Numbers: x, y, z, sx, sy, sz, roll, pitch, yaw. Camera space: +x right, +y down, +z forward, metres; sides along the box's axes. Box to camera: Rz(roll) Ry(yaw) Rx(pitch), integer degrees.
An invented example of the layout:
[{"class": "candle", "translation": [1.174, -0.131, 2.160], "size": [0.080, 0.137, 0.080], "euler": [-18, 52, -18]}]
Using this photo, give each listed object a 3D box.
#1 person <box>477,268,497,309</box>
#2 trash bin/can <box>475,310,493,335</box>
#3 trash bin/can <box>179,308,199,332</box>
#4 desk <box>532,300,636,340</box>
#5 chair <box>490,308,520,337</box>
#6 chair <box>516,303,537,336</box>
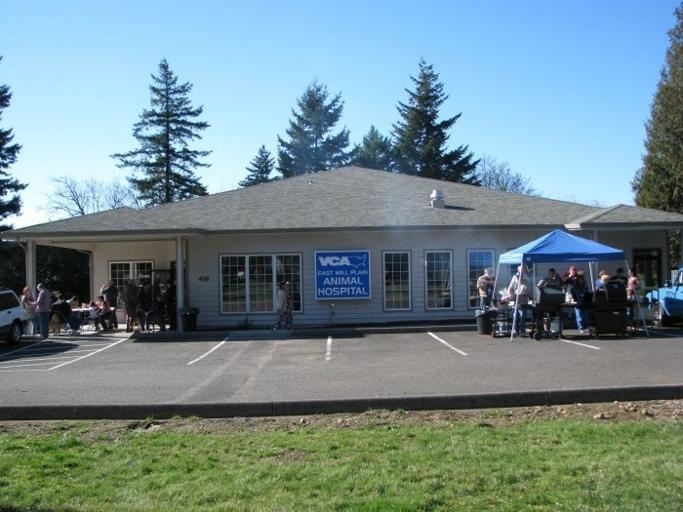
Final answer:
[{"class": "person", "translation": [4.502, 1.042, 23.586], "size": [0.471, 1.285, 1.904], "euler": [1, 8, 12]}, {"class": "trash bin/can", "translation": [4.115, 1.926, 21.913], "size": [0.554, 0.791, 0.591], "euler": [0, -5, -1]}, {"class": "trash bin/can", "translation": [-4.830, 2.038, 24.062], "size": [0.624, 0.849, 0.618], "euler": [0, -4, -6]}, {"class": "desk", "translation": [6.552, 1.647, 21.336], "size": [2.439, 1.264, 3.459], "euler": [0, 8, 9]}, {"class": "chair", "translation": [4.696, 1.942, 21.709], "size": [0.796, 0.854, 0.846], "euler": [-2, -2, 18]}, {"class": "chair", "translation": [5.146, 1.795, 21.118], "size": [0.455, 0.667, 0.881], "euler": [-1, -1, 6]}]
